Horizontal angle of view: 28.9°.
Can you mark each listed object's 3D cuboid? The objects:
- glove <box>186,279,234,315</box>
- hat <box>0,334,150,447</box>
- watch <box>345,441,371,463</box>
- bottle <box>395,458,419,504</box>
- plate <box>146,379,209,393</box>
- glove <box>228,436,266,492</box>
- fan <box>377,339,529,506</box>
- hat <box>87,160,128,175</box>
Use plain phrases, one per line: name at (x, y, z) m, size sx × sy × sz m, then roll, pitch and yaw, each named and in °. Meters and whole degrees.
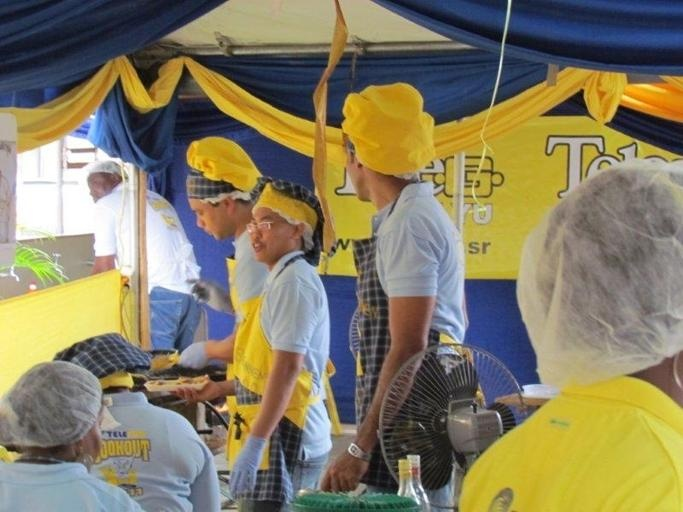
glove at (-0.867, 0.268, 8.681) m, size 0.279 × 0.079 × 0.268 m, roll 24°, pitch -2°, yaw -39°
hat at (-1.047, 0.562, 5.892) m, size 0.486 × 0.135 × 0.474 m, roll -19°, pitch 4°, yaw 12°
watch at (0.066, 0.870, 5.886) m, size 0.101 × 0.061 × 0.098 m, roll 21°, pitch -4°, yaw -11°
bottle at (0.271, 0.906, 5.318) m, size 0.093 × 0.173 × 0.058 m, roll 0°, pitch -9°, yaw 14°
plate at (-0.861, 0.680, 6.887) m, size 0.216 × 0.042 × 0.130 m, roll -1°, pitch 3°, yaw 8°
glove at (-0.434, 0.990, 6.205) m, size 0.164 × 0.261 × 0.081 m, roll 20°, pitch 11°, yaw -5°
fan at (0.442, 0.716, 5.515) m, size 0.791 × 0.763 × 0.365 m, roll 0°, pitch 0°, yaw -7°
hat at (-1.611, -0.606, 9.156) m, size 0.201 × 0.060 × 0.200 m, roll -1°, pitch -2°, yaw 20°
